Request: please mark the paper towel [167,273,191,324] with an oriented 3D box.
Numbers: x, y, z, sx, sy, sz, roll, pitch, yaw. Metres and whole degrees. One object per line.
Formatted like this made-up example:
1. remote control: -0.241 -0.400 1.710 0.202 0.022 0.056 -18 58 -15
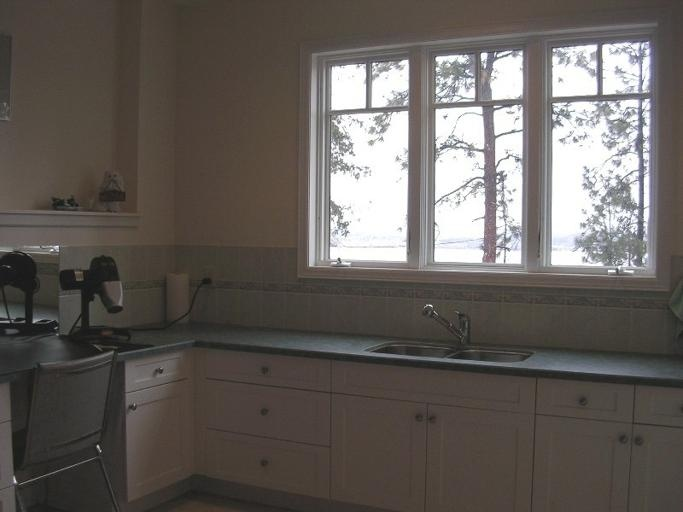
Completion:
1. paper towel: -1.203 0.309 4.389 0.179 0.353 0.187 -1 5 -15
